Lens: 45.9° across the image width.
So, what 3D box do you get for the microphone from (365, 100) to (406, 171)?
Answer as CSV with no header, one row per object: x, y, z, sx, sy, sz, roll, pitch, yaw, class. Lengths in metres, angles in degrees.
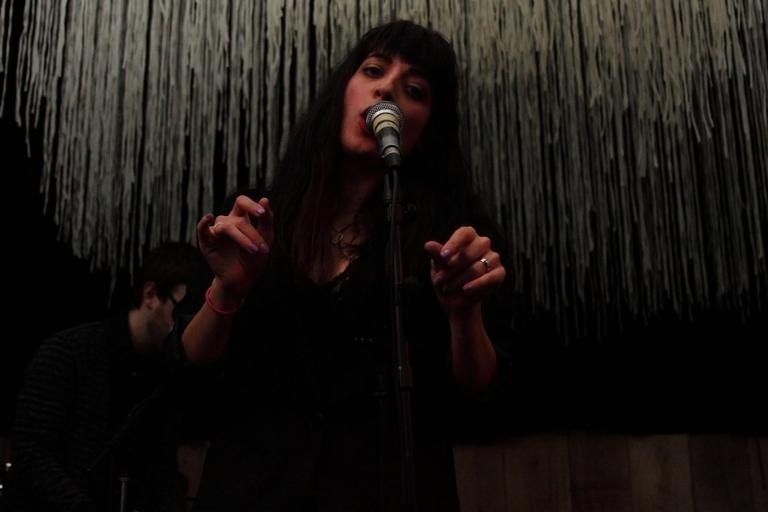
0.000,-0.402,3.000,0.116,0.247,0.218,3,-2,-2,microphone

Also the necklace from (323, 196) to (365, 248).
-0.131,-0.115,3.304,0.034,0.142,0.085,12,-1,43,necklace
